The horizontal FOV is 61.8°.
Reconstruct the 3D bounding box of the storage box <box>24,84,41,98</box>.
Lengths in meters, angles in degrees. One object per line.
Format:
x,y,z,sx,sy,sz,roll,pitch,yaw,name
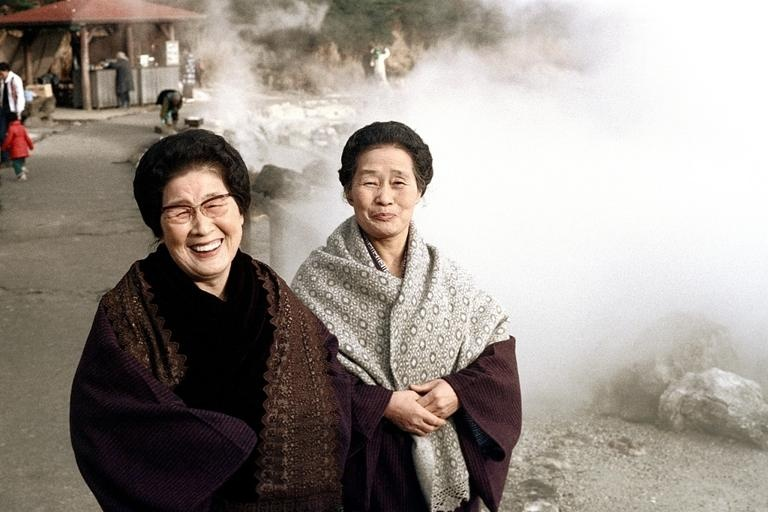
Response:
-2.839,-1.413,5.196,0.127,0.052,0.092,0,6,1,storage box

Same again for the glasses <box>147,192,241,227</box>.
-0.741,-0.210,2.554,0.282,0.129,0.052,1,12,-16,glasses
